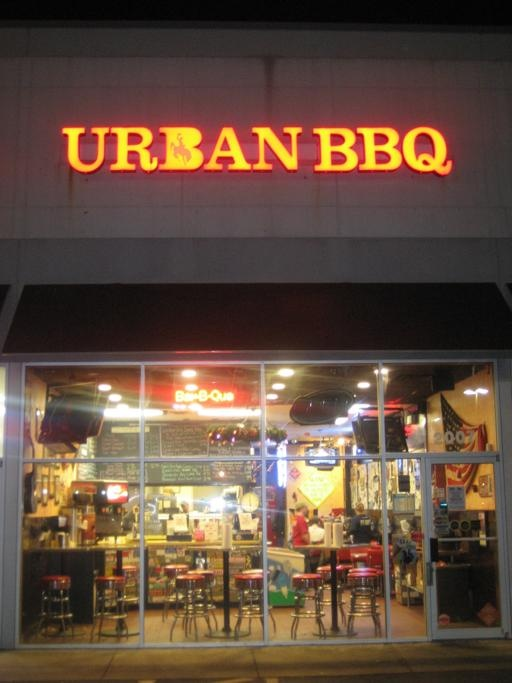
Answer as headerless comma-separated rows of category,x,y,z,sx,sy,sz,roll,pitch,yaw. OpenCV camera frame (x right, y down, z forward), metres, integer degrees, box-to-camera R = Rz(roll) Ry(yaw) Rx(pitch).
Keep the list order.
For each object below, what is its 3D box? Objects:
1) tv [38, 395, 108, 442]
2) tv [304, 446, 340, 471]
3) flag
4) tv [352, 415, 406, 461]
tv,-2.153,0.928,9.370,0.727,0.567,0.194,0,-2,-14
tv,0.784,1.401,9.338,0.388,0.261,0.087,-1,-2,8
flag,2.491,1.313,9.527,0.784,1.639,0.138,14,-22,-8
tv,1.490,1.101,9.495,0.634,0.452,0.159,0,-2,-8
